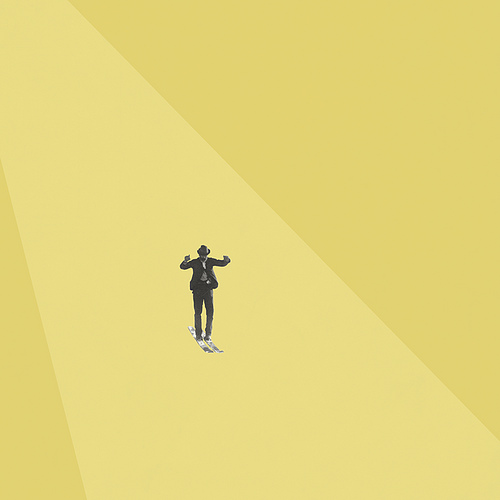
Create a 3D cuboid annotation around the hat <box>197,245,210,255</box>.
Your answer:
[{"bbox_3d":[-0.667,0.016,11.563,0.114,0.138,0.123,4,-20,-24],"label":"hat"}]

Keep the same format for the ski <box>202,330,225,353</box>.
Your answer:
[{"bbox_3d":[-0.539,1.373,11.739,0.039,0.404,0.062,-20,-42,-18],"label":"ski"}]
